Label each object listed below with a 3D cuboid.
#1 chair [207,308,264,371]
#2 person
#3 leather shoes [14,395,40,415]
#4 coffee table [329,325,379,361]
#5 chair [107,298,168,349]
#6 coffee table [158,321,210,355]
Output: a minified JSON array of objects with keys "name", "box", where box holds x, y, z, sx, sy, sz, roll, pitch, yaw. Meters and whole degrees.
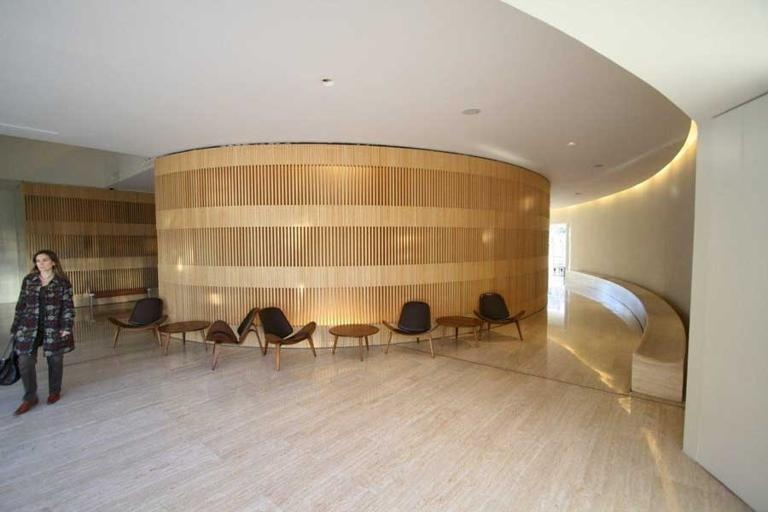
[{"name":"chair","box":[-2.783,1.551,8.812,1.094,1.192,0.982,4,-5,-31]},{"name":"person","box":[-5.173,1.106,7.050,0.825,2.385,0.459,-5,9,-36]},{"name":"leather shoes","box":[-5.322,2.229,6.922,0.304,0.181,0.256,-6,8,-42]},{"name":"coffee table","box":[-0.606,1.640,9.054,0.870,0.586,1.114,-1,6,-8]},{"name":"chair","box":[-4.825,1.295,9.427,0.938,0.836,1.011,-1,0,12]},{"name":"coffee table","box":[-4.059,1.464,9.326,0.777,0.445,0.862,-4,-1,43]}]
